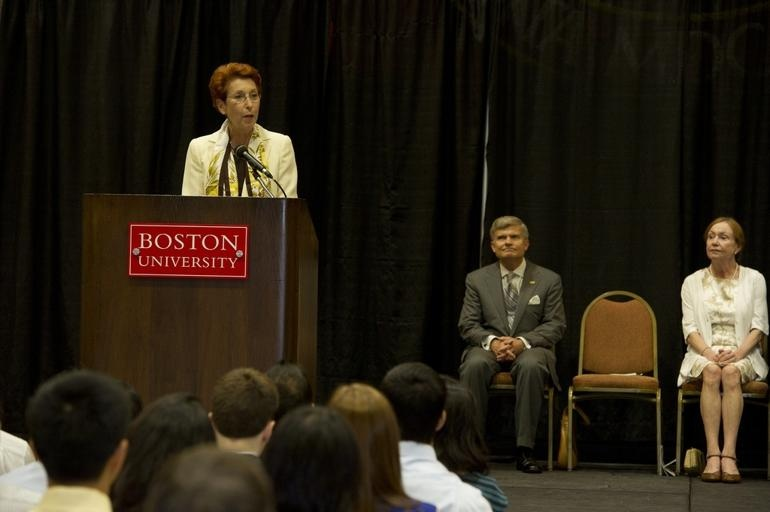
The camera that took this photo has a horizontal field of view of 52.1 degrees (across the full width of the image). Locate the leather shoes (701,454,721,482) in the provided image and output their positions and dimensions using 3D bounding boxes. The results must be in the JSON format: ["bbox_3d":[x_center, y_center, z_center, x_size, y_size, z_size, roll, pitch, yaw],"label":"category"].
[{"bbox_3d":[2.106,1.367,5.069,0.124,0.167,0.132,-3,-5,19],"label":"leather shoes"}]

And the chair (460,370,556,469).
[{"bbox_3d":[0.868,1.182,5.695,0.738,0.740,0.575,-1,-9,10],"label":"chair"}]

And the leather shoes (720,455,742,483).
[{"bbox_3d":[2.228,1.366,5.050,0.154,0.176,0.117,-1,-5,2],"label":"leather shoes"}]

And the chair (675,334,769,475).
[{"bbox_3d":[2.328,1.019,5.430,0.633,0.899,0.538,-3,-5,20],"label":"chair"}]

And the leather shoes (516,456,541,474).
[{"bbox_3d":[0.981,1.413,5.289,0.080,0.064,0.156,2,-6,-29],"label":"leather shoes"}]

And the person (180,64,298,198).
[{"bbox_3d":[-0.795,-0.564,4.375,0.638,0.972,0.509,0,-6,-13],"label":"person"}]

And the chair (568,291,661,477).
[{"bbox_3d":[1.644,0.873,5.618,0.618,1.250,0.753,-3,-5,20],"label":"chair"}]

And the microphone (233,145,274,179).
[{"bbox_3d":[-0.641,-0.445,3.859,0.173,0.175,0.238,0,-5,-13],"label":"microphone"}]
